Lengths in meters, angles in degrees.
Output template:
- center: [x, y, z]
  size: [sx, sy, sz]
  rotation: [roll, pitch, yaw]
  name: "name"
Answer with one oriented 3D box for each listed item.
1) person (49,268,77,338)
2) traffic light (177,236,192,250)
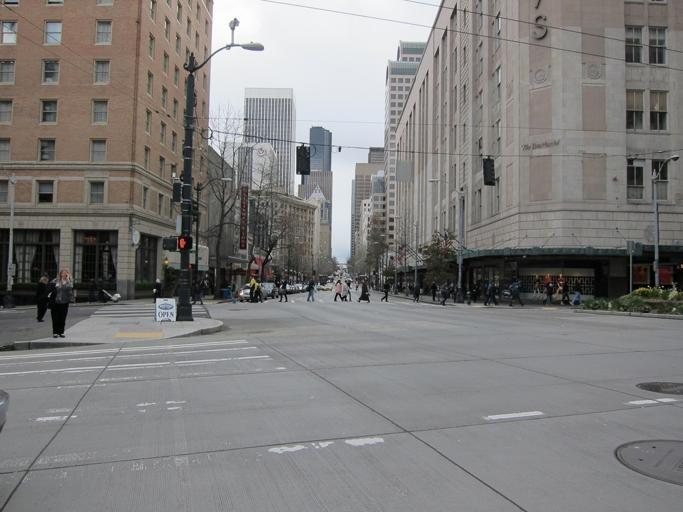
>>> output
- center: [-8.003, 1.289, 18.183]
  size: [0.468, 2.156, 0.618]
  rotation: [3, -2, 39]
  name: "person"
- center: [-5.727, -0.458, 23.194]
  size: [0.388, 0.502, 0.446]
  rotation: [-1, -1, 26]
  name: "traffic light"
